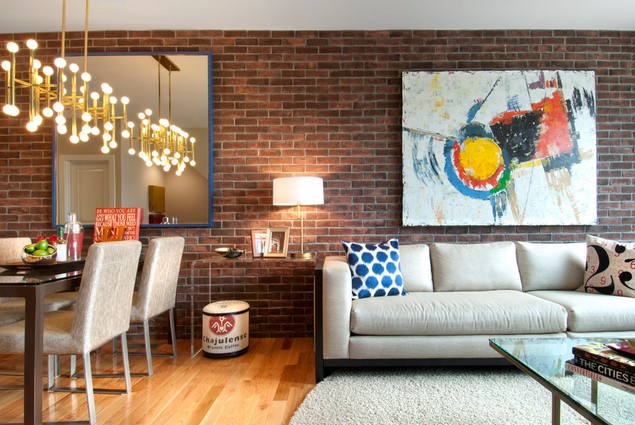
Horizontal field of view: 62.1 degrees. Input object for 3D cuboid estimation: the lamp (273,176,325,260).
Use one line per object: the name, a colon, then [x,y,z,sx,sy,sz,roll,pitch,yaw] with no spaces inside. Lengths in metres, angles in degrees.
lamp: [-0.203,0.024,5.673,0.555,0.864,0.472,-1,14,0]

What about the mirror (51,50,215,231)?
mirror: [-1.998,-0.767,5.697,2.133,2.148,0.083,0,-4,-5]

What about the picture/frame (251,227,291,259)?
picture/frame: [-0.513,0.331,5.706,0.367,0.296,0.029,-1,-26,4]

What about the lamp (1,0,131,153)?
lamp: [-2.442,-1.349,5.233,1.029,1.578,1.672,-6,15,-19]

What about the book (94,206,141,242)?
book: [-2.060,0.108,5.418,0.427,0.344,0.043,-1,-3,3]

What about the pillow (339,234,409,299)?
pillow: [0.571,0.557,5.279,0.647,0.517,0.297,0,7,-25]
